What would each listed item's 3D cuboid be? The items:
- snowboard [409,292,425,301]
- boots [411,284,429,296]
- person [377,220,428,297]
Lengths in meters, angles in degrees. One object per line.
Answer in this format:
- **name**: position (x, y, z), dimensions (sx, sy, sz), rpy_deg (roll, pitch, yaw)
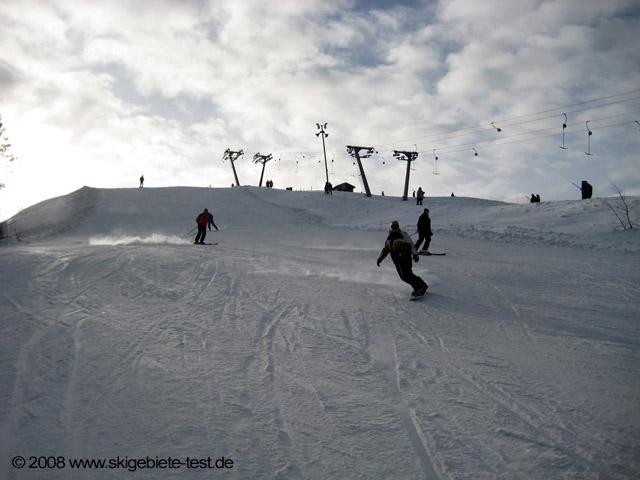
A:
- **snowboard**: position (2.352, 1.407, 12.169), dimensions (0.163, 0.123, 0.381), rpy_deg (-22, -32, 32)
- **boots**: position (2.450, 1.249, 12.270), dimensions (0.512, 0.204, 0.186), rpy_deg (-29, 25, -30)
- **person**: position (2.060, 0.471, 12.503), dimensions (1.180, 1.931, 1.265), rpy_deg (-1, 15, 1)
